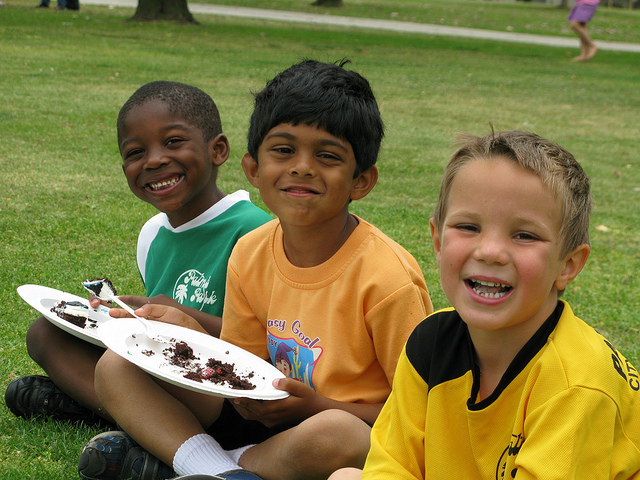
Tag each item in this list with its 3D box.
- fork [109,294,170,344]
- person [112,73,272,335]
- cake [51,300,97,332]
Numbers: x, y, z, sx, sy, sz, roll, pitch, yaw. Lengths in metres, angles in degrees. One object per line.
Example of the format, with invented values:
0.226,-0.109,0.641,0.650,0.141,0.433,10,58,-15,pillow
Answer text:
-0.832,0.372,3.636,0.323,0.048,0.053,34,44,30,fork
-0.710,-0.117,4.070,0.926,1.356,0.821,-5,-7,36,person
-1.144,0.352,3.681,0.168,0.056,0.160,6,13,-43,cake
